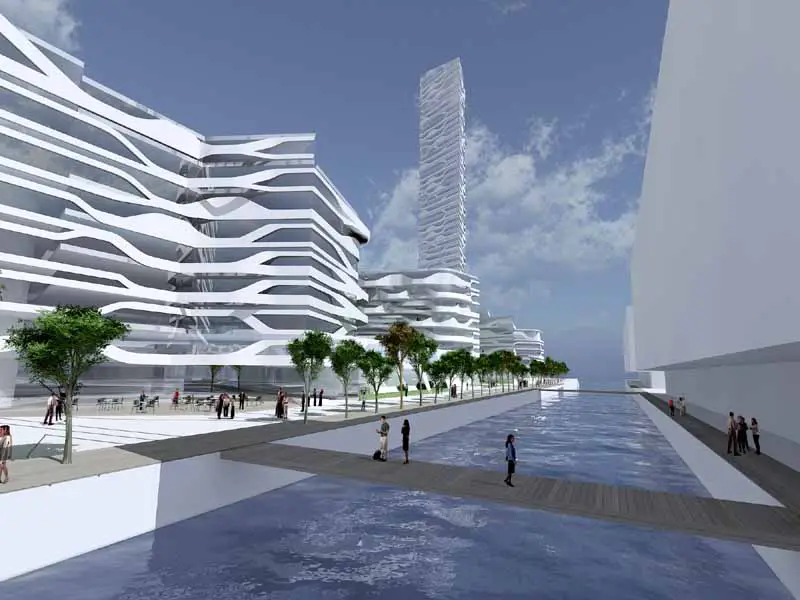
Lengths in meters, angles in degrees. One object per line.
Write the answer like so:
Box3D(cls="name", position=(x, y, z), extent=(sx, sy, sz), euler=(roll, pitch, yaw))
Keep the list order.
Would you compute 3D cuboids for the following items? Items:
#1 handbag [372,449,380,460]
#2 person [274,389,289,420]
Box3D(cls="handbag", position=(-1.026, 6.894, 17.976), extent=(0.319, 0.346, 0.536), euler=(3, -7, -5))
Box3D(cls="person", position=(-8.425, 7.489, 28.893), extent=(0.757, 1.907, 1.308), euler=(4, -7, -14))
